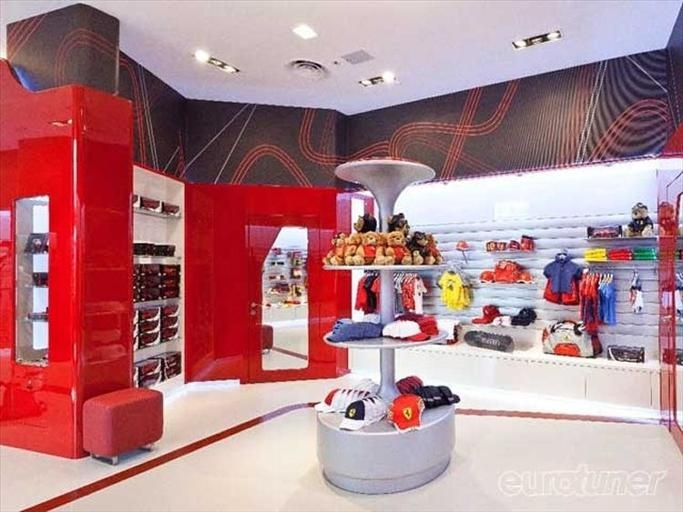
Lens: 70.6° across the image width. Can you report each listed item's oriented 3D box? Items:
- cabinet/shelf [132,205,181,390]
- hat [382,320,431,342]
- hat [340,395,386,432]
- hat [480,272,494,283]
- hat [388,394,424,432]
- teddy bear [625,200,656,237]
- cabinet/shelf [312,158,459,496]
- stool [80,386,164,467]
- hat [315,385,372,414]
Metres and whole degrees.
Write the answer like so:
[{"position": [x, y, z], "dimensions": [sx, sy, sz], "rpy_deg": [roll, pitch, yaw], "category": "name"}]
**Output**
[{"position": [-2.346, 0.430, 6.189], "dimensions": [0.376, 2.409, 1.114], "rpy_deg": [0, 8, 6], "category": "cabinet/shelf"}, {"position": [0.542, 0.638, 4.157], "dimensions": [0.260, 0.097, 0.194], "rpy_deg": [0, -1, 28], "category": "hat"}, {"position": [0.202, 1.341, 4.140], "dimensions": [0.202, 0.120, 0.335], "rpy_deg": [-2, 3, 36], "category": "hat"}, {"position": [2.043, 0.285, 6.769], "dimensions": [0.210, 0.183, 0.143], "rpy_deg": [2, 8, 21], "category": "hat"}, {"position": [0.544, 1.332, 4.080], "dimensions": [0.280, 0.243, 0.183], "rpy_deg": [-2, 8, -13], "category": "hat"}, {"position": [3.603, -0.446, 5.855], "dimensions": [0.272, 0.402, 0.160], "rpy_deg": [4, 9, 30], "category": "teddy bear"}, {"position": [0.383, 0.577, 4.215], "dimensions": [1.090, 2.838, 0.836], "rpy_deg": [-7, 10, -40], "category": "cabinet/shelf"}, {"position": [-2.121, 1.664, 4.771], "dimensions": [0.383, 0.604, 0.699], "rpy_deg": [-3, -5, 24], "category": "stool"}, {"position": [-0.001, 1.304, 4.384], "dimensions": [0.371, 0.121, 0.241], "rpy_deg": [-2, -4, 1], "category": "hat"}]
